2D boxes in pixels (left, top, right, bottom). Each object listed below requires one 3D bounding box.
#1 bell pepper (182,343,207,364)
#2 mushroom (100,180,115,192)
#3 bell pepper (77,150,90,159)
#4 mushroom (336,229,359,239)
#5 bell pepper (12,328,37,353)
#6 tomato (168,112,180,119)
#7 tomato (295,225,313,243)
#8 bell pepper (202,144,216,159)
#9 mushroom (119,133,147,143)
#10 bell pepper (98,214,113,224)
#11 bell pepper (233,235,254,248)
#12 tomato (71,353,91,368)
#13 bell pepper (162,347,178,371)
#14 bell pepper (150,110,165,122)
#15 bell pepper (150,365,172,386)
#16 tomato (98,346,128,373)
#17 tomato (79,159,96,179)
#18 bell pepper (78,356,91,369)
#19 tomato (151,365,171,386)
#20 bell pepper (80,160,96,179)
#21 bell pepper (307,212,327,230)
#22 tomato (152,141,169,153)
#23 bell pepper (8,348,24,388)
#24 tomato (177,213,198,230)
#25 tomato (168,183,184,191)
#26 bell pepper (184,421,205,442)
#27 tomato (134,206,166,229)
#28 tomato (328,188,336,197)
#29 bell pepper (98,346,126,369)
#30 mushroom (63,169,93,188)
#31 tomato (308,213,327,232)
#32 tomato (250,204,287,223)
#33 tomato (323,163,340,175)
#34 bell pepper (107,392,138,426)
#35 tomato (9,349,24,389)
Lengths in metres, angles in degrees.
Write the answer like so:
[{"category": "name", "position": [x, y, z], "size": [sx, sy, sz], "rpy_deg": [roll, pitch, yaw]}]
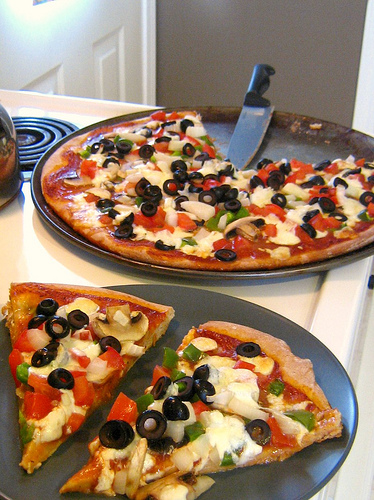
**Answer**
[{"category": "bell pepper", "position": [0.010, 0.180, 0.780], "size": [0.035, 0.013, 0.032], "rpy_deg": [41, 76, 2]}, {"category": "mushroom", "position": [-0.269, -0.215, 1.512], "size": [0.039, 0.012, 0.039], "rpy_deg": [9, 41, 6]}, {"category": "bell pepper", "position": [-0.385, -0.360, 1.685], "size": [0.036, 0.013, 0.033], "rpy_deg": [-21, 52, -29]}, {"category": "mushroom", "position": [0.451, -0.045, 1.258], "size": [0.036, 0.009, 0.032], "rpy_deg": [5, 32, 23]}, {"category": "bell pepper", "position": [-0.271, 0.150, 0.760], "size": [0.031, 0.037, 0.022], "rpy_deg": [16, -6, 4]}, {"category": "tomato", "position": [-0.060, -0.601, 2.017], "size": [0.057, 0.031, 0.027], "rpy_deg": [21, 31, 27]}, {"category": "tomato", "position": [0.324, -0.045, 1.259], "size": [0.047, 0.010, 0.032], "rpy_deg": [49, 42, 13]}, {"category": "bell pepper", "position": [0.087, -0.391, 1.769], "size": [0.045, 0.016, 0.064], "rpy_deg": [-18, 75, -40]}, {"category": "mushroom", "position": [-0.227, -0.460, 1.831], "size": [0.062, 0.046, 0.015], "rpy_deg": [22, 62, -29]}, {"category": "bell pepper", "position": [-0.239, -0.092, 1.303], "size": [0.037, 0.012, 0.056], "rpy_deg": [-12, 31, -33]}, {"category": "bell pepper", "position": [0.151, -0.025, 1.215], "size": [0.039, 0.013, 0.033], "rpy_deg": [15, 24, 17]}, {"category": "tomato", "position": [-0.177, 0.184, 0.753], "size": [0.032, 0.020, 0.016], "rpy_deg": [-1, 28, -14]}, {"category": "bell pepper", "position": [-0.029, 0.180, 0.747], "size": [0.029, 0.036, 0.037], "rpy_deg": [-10, -13, -3]}, {"category": "bell pepper", "position": [-0.133, -0.602, 2.015], "size": [0.066, 0.039, 0.067], "rpy_deg": [2, 27, -8]}, {"category": "bell pepper", "position": [-0.043, 0.201, 0.745], "size": [0.033, 0.029, 0.032], "rpy_deg": [3, 14, 16]}, {"category": "tomato", "position": [-0.125, 0.187, 0.772], "size": [0.041, 0.012, 0.038], "rpy_deg": [23, 7, -20]}, {"category": "tomato", "position": [-0.345, -0.285, 1.574], "size": [0.066, 0.023, 0.059], "rpy_deg": [11, 61, -4]}, {"category": "bell pepper", "position": [-0.171, 0.188, 0.760], "size": [0.019, 0.016, 0.018], "rpy_deg": [2, 11, 8]}, {"category": "tomato", "position": [-0.045, 0.202, 0.741], "size": [0.034, 0.031, 0.033], "rpy_deg": [5, 23, 13]}, {"category": "bell pepper", "position": [-0.348, -0.285, 1.574], "size": [0.056, 0.016, 0.065], "rpy_deg": [4, 48, -6]}, {"category": "bell pepper", "position": [0.375, -0.084, 1.302], "size": [0.045, 0.014, 0.044], "rpy_deg": [-39, 33, -21]}, {"category": "tomato", "position": [-0.107, -0.409, 1.777], "size": [0.062, 0.039, 0.041], "rpy_deg": [4, 27, -3]}, {"category": "bell pepper", "position": [-0.277, 0.188, 0.725], "size": [0.020, 0.062, 0.016], "rpy_deg": [-14, -7, 10]}, {"category": "tomato", "position": [0.000, -0.081, 1.328], "size": [0.036, 0.021, 0.057], "rpy_deg": [-39, 47, -15]}, {"category": "tomato", "position": [-0.048, -0.205, 1.461], "size": [0.029, 0.022, 0.019], "rpy_deg": [25, 33, 33]}, {"category": "bell pepper", "position": [0.012, 0.258, 0.636], "size": [0.029, 0.016, 0.028], "rpy_deg": [-10, 31, -29]}, {"category": "tomato", "position": [-0.103, -0.092, 1.309], "size": [0.106, 0.032, 0.079], "rpy_deg": [-10, 30, -29]}, {"category": "tomato", "position": [0.488, -0.197, 1.517], "size": [0.021, 0.026, 0.044], "rpy_deg": [5, 26, -1]}, {"category": "bell pepper", "position": [-0.131, 0.190, 0.774], "size": [0.042, 0.037, 0.035], "rpy_deg": [12, 28, 12]}, {"category": "mushroom", "position": [-0.366, -0.229, 1.520], "size": [0.046, 0.029, 0.114], "rpy_deg": [24, 31, 32]}, {"category": "tomato", "position": [0.380, -0.078, 1.298], "size": [0.055, 0.045, 0.017], "rpy_deg": [-1, -5, -14]}, {"category": "tomato", "position": [0.256, -0.121, 1.382], "size": [0.081, 0.016, 0.053], "rpy_deg": [37, 65, 21]}, {"category": "tomato", "position": [0.529, -0.297, 1.640], "size": [0.051, 0.033, 0.047], "rpy_deg": [-14, 33, -34]}, {"category": "bell pepper", "position": [-0.093, 0.238, 0.663], "size": [0.042, 0.029, 0.044], "rpy_deg": [14, 28, 15]}, {"category": "tomato", "position": [-0.276, 0.191, 0.720], "size": [0.014, 0.050, 0.031], "rpy_deg": [-10, 5, -36]}]
